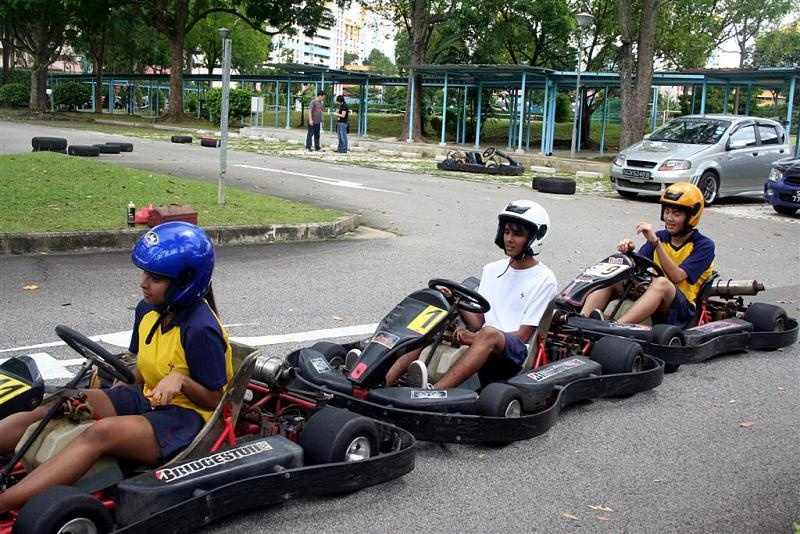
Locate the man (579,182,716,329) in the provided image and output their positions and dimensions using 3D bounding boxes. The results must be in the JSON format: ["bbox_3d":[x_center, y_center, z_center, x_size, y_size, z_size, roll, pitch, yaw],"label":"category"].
[{"bbox_3d":[2.328,-0.088,7.053,1.442,1.545,1.016,8,8,-4],"label":"man"}]

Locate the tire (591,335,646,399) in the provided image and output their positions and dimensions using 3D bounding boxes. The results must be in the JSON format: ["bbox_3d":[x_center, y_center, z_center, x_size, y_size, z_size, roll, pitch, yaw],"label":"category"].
[{"bbox_3d":[1.774,0.778,6.091,0.457,0.499,0.487,-4,9,-29],"label":"tire"}]

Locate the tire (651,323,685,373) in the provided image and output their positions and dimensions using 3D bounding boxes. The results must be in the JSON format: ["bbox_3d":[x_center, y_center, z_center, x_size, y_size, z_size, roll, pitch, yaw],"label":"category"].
[{"bbox_3d":[2.377,0.735,6.415,0.405,0.400,0.151,7,-10,-44],"label":"tire"}]

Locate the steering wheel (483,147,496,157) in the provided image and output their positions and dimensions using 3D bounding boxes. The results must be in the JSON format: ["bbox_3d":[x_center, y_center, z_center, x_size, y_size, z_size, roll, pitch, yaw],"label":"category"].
[{"bbox_3d":[2.640,-3.329,21.264,0.323,0.233,0.349,2,10,0],"label":"steering wheel"}]

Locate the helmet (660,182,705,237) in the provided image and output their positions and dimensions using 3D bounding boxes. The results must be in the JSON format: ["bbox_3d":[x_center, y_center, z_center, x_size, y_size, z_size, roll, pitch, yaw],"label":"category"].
[{"bbox_3d":[2.715,-0.583,6.998,0.446,0.480,0.354,-8,18,-30],"label":"helmet"}]

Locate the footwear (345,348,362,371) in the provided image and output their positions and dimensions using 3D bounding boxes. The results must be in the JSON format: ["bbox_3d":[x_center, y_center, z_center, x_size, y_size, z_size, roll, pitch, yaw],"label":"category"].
[{"bbox_3d":[-0.348,0.702,5.361,0.036,0.148,0.145,17,30,-31],"label":"footwear"}]

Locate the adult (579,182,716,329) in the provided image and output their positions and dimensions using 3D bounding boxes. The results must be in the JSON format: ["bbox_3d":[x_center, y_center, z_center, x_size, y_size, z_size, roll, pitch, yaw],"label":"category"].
[{"bbox_3d":[2.348,-0.076,7.017,1.445,1.528,0.917,3,9,-14],"label":"adult"}]

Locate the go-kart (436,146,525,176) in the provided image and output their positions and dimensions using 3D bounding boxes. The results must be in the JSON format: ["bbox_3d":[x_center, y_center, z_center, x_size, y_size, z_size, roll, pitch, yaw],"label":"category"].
[{"bbox_3d":[2.373,-3.005,21.206,1.952,0.657,1.133,2,16,8],"label":"go-kart"}]

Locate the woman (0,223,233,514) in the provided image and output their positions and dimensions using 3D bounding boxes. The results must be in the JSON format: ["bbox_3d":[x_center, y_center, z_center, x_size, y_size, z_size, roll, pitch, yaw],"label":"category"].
[{"bbox_3d":[-1.370,0.472,4.266,1.666,1.230,1.043,1,18,-46],"label":"woman"}]

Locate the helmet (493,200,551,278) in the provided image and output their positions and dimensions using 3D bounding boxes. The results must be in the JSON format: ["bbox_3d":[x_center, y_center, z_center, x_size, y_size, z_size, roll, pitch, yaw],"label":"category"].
[{"bbox_3d":[0.986,-0.268,5.764,0.386,0.459,0.481,4,-4,33],"label":"helmet"}]

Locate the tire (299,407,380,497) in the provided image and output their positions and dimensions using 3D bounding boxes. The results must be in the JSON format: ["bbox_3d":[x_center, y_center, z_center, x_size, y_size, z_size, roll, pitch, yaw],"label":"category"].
[{"bbox_3d":[-0.371,1.161,4.437,0.278,0.450,0.473,10,0,40],"label":"tire"}]

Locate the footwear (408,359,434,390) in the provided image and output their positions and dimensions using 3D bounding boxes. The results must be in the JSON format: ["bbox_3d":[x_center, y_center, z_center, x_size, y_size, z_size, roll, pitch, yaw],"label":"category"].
[{"bbox_3d":[0.149,0.790,5.226,0.189,0.223,0.080,-6,1,27],"label":"footwear"}]

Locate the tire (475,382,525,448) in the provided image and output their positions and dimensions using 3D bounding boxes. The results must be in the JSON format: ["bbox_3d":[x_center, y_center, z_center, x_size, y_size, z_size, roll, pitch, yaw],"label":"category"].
[{"bbox_3d":[0.750,1.026,5.139,0.383,0.377,0.161,20,-8,-41],"label":"tire"}]

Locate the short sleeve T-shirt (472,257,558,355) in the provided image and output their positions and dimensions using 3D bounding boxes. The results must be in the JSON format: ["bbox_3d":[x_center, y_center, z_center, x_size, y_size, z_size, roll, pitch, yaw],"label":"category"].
[{"bbox_3d":[0.901,0.333,5.651,0.652,0.673,0.374,9,-14,33],"label":"short sleeve T-shirt"}]

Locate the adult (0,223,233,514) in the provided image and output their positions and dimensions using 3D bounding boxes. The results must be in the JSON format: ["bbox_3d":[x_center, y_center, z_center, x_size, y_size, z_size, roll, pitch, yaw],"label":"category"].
[{"bbox_3d":[-1.371,0.434,4.389,1.666,1.230,1.043,1,18,-46],"label":"adult"}]

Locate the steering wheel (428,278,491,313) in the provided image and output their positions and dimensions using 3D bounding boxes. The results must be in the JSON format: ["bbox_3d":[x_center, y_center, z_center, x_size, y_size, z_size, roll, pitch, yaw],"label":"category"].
[{"bbox_3d":[0.458,0.218,5.415,0.305,0.109,0.314,24,-9,4],"label":"steering wheel"}]

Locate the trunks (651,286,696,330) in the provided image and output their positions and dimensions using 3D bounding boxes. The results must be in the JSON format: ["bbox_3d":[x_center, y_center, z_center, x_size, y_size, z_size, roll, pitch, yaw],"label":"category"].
[{"bbox_3d":[2.621,0.401,6.861,0.408,0.161,0.298,-11,6,-34],"label":"trunks"}]

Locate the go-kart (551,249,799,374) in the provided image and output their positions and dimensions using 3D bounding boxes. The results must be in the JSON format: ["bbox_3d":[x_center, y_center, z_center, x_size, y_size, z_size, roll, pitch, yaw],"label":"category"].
[{"bbox_3d":[2.674,0.497,6.920,1.812,0.628,1.362,3,7,-31],"label":"go-kart"}]

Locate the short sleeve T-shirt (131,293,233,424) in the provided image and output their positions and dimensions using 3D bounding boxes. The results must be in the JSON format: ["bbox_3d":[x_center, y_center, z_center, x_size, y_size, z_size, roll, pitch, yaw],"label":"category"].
[{"bbox_3d":[-1.268,0.558,4.211,0.676,0.607,0.385,8,9,37],"label":"short sleeve T-shirt"}]

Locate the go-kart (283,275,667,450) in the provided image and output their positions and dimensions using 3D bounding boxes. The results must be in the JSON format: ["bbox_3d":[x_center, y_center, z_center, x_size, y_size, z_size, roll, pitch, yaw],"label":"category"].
[{"bbox_3d":[0.710,0.858,5.414,1.504,0.683,1.923,6,3,44],"label":"go-kart"}]

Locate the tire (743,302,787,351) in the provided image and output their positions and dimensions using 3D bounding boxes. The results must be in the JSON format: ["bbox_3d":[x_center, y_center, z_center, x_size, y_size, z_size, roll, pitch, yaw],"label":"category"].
[{"bbox_3d":[3.723,0.583,7.306,0.357,0.375,0.267,18,1,-41],"label":"tire"}]
